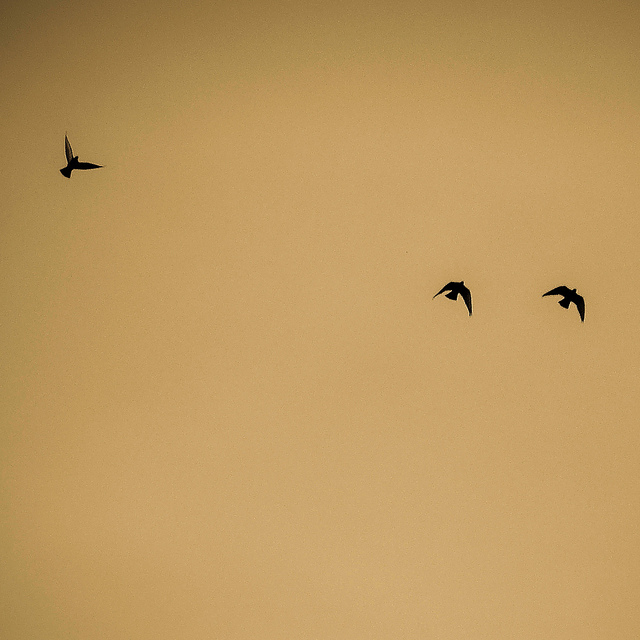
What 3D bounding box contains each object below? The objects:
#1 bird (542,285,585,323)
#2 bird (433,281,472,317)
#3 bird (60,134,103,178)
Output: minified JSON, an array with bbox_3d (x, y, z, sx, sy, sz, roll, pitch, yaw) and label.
[{"bbox_3d":[0.815,-0.077,4.553,0.155,0.062,0.079,25,-63,-7],"label":"bird"},{"bbox_3d":[0.451,-0.090,4.564,0.132,0.048,0.078,22,-63,-6],"label":"bird"},{"bbox_3d":[-0.809,-0.515,4.615,0.140,0.042,0.100,34,-66,-11],"label":"bird"}]
